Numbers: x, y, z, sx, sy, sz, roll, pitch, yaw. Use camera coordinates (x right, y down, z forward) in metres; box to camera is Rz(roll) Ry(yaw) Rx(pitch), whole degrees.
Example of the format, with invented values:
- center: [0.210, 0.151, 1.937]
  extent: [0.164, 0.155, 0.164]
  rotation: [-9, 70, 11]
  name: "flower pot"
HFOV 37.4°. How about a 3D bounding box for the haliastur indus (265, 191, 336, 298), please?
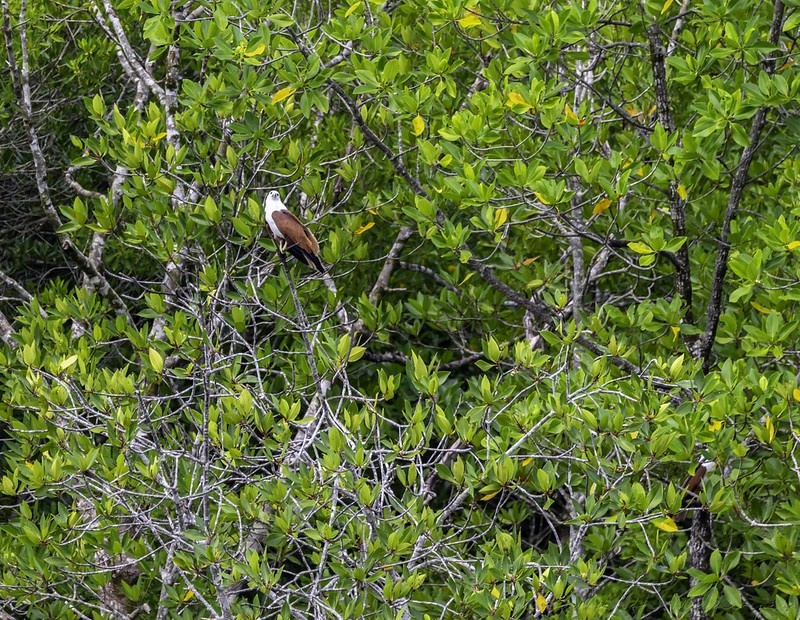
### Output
- center: [-0.756, -0.475, 8.973]
  extent: [0.583, 0.225, 0.649]
  rotation: [35, 16, -22]
  name: "haliastur indus"
